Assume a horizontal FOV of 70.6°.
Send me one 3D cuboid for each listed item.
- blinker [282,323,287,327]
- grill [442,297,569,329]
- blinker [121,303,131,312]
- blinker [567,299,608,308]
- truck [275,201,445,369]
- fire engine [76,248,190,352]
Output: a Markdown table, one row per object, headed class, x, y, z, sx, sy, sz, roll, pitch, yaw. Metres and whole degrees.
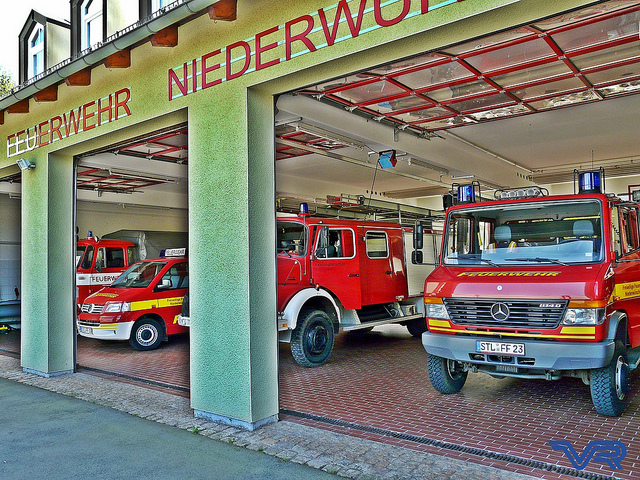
| class | x | y | z | sx | sy | sz | roll | pitch | yaw |
| --- | --- | --- | --- | --- | --- | --- | --- | --- | --- |
| blinker | -0.619 | 1.520 | 8.103 | 0.085 | 0.054 | 0.048 | -2 | -9 | 9 |
| grill | 2.375 | 0.922 | 5.767 | 1.609 | 0.361 | 0.735 | -1 | -5 | 27 |
| blinker | -4.320 | 1.506 | 10.167 | 0.232 | 0.152 | 0.073 | -1 | 4 | -19 |
| blinker | 3.245 | 0.761 | 5.418 | 0.497 | 0.090 | 0.135 | -1 | -2 | -4 |
| truck | 0.964 | 0.867 | 9.963 | 5.146 | 3.181 | 0.904 | 1 | -4 | -41 |
| fire engine | -4.011 | 1.400 | 11.924 | 2.375 | 1.750 | 4.162 | 4 | 3 | 35 |
